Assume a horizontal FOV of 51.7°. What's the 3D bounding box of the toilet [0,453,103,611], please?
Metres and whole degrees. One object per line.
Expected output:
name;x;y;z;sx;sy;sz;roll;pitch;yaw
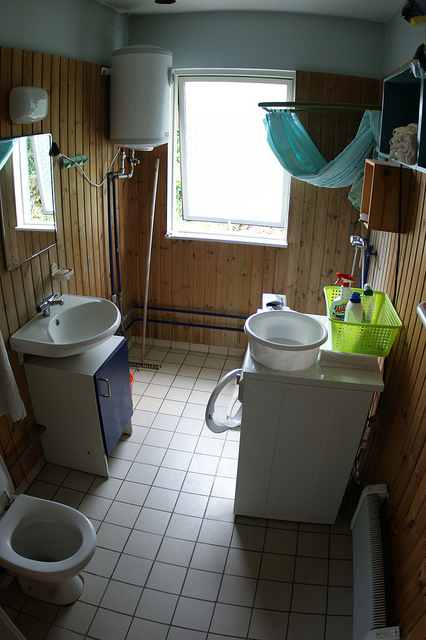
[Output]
toilet;-0.685;0.920;1.865;0.280;0.596;0.224;5;31;4

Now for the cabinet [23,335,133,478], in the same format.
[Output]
cabinet;-0.715;0.447;2.256;0.313;0.707;0.369;5;29;9

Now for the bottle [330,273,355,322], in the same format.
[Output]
bottle;0.551;-0.087;1.906;0.067;0.265;0.059;-2;38;-5

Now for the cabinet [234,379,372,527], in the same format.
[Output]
cabinet;0.385;0.589;1.936;0.334;0.846;0.414;6;29;7

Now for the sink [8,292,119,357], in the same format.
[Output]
sink;-0.694;0.052;2.267;0.425;0.168;0.626;7;26;8

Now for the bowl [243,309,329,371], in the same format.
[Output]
bowl;0.301;0.089;1.865;0.321;0.180;0.383;15;19;30

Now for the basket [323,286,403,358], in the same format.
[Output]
basket;0.643;0.000;1.954;0.255;0.187;0.463;4;23;9

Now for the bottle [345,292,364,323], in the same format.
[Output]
bottle;0.578;-0.048;1.822;0.053;0.181;0.057;-1;20;0
